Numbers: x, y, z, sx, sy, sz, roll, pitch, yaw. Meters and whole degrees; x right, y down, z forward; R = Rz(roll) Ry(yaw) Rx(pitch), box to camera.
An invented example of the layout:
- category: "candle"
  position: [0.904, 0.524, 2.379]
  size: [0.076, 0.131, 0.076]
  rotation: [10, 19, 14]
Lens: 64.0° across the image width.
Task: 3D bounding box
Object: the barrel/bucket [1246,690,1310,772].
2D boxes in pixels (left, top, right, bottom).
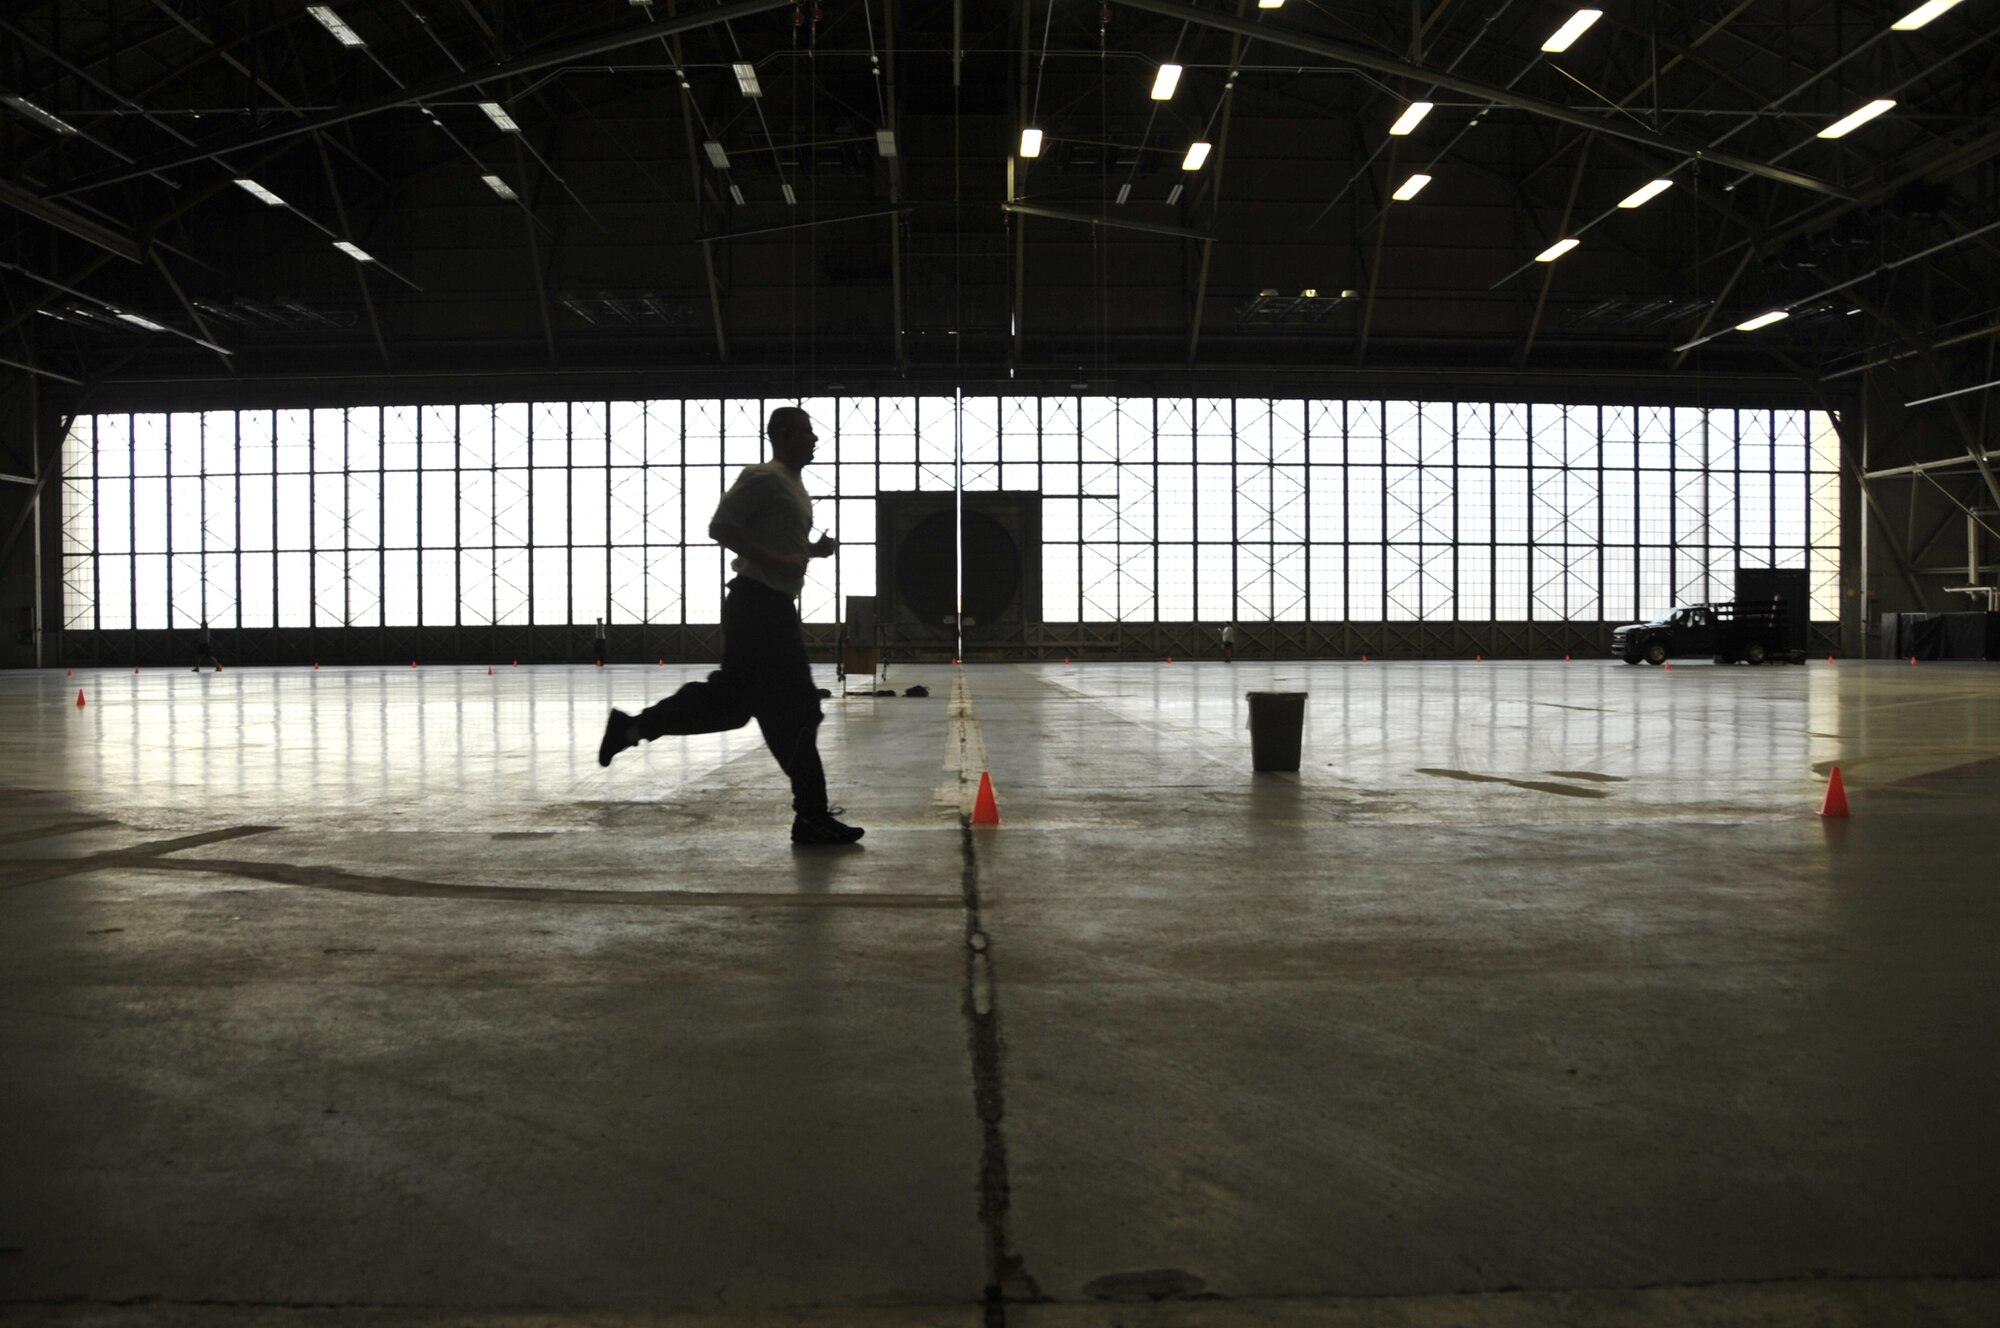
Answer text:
- category: "barrel/bucket"
  position: [1.724, 0.447, 10.186]
  size: [0.459, 0.517, 0.516]
  rotation: [-1, -4, 6]

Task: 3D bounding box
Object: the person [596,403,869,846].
- category: "person"
  position: [-1.227, -0.170, 7.663]
  size: [1.089, 2.075, 0.973]
  rotation: [-3, 8, -20]

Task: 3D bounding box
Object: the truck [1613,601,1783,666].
- category: "truck"
  position: [14.815, -0.585, 33.903]
  size: [2.991, 1.167, 1.623]
  rotation: [2, -2, 1]

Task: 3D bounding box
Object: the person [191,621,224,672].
- category: "person"
  position: [-20.545, -0.419, 41.536]
  size: [0.657, 1.056, 1.069]
  rotation: [-5, 9, -30]

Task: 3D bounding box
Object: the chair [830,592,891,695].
- category: "chair"
  position: [-1.791, -0.241, 22.115]
  size: [0.923, 1.281, 0.889]
  rotation: [2, -1, -30]

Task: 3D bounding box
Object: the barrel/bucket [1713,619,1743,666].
- category: "barrel/bucket"
  position: [15.579, -0.422, 34.258]
  size: [0.549, 0.917, 0.343]
  rotation: [0, 8, 0]

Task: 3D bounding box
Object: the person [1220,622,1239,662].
- category: "person"
  position: [5.871, -0.527, 40.892]
  size: [0.451, 0.822, 0.871]
  rotation: [1, 8, 10]
